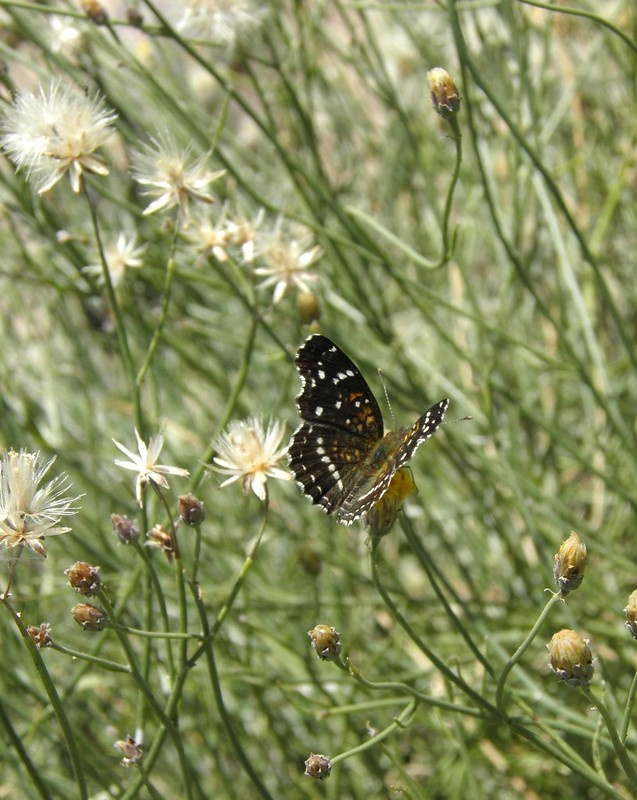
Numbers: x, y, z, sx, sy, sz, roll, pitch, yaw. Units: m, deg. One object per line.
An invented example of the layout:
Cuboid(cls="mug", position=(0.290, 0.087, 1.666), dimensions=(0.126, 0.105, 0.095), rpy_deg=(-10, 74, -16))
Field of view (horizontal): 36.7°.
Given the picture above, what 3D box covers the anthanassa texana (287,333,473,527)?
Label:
Cuboid(cls="anthanassa texana", position=(0.057, 0.067, 1.364), dimensions=(0.174, 0.203, 0.270), rpy_deg=(-40, 43, -14))
